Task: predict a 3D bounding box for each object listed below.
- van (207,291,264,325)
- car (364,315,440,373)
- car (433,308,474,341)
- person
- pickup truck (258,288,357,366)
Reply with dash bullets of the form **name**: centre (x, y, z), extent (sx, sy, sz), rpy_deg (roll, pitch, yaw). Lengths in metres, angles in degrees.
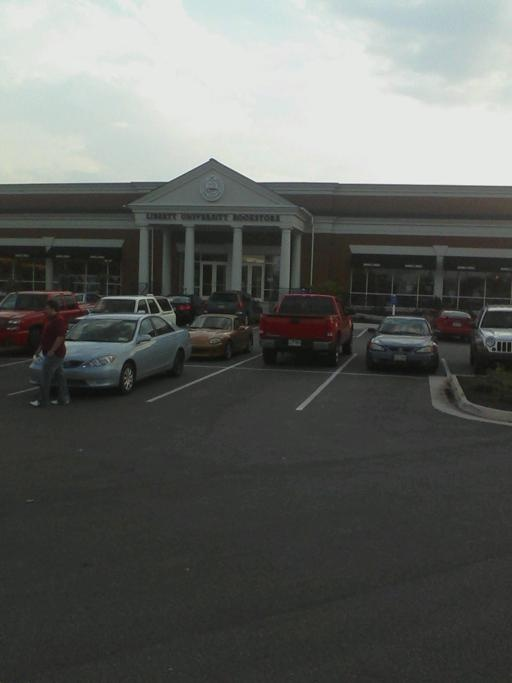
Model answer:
- **van**: centre (-0.995, -1.723, 28.467), extent (1.208, 1.135, 3.093), rpy_deg (1, 9, 14)
- **car**: centre (4.054, 0.113, 16.247), extent (1.830, 1.432, 1.986), rpy_deg (2, 3, 14)
- **car**: centre (9.118, -0.776, 27.049), extent (1.415, 1.260, 3.328), rpy_deg (1, 8, 12)
- **person**: centre (-3.506, 0.200, 9.958), extent (0.590, 1.790, 0.508), rpy_deg (0, 3, -22)
- **pickup truck**: centre (1.597, -0.412, 17.771), extent (2.281, 2.099, 3.682), rpy_deg (2, 3, 15)
